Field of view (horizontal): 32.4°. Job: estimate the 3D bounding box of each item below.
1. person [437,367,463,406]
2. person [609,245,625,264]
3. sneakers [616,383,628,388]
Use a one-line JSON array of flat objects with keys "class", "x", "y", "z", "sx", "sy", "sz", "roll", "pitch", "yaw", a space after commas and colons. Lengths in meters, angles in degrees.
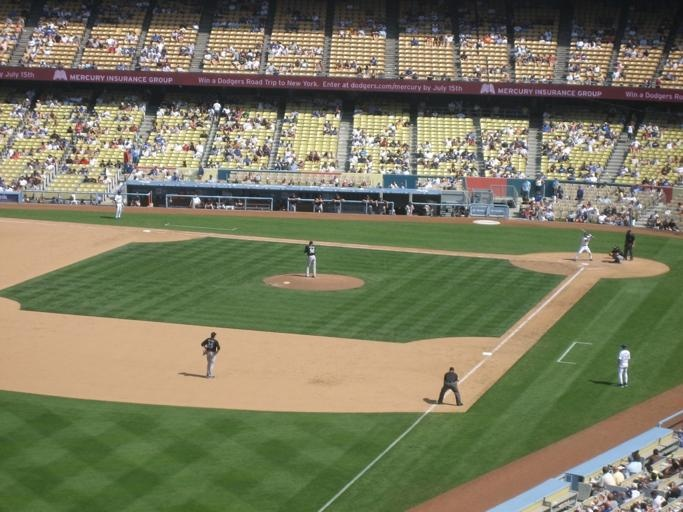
[{"class": "person", "x": 4.813, "y": 5.567, "z": 51.528, "sx": 1.114, "sy": 1.641, "sz": 1.522, "roll": 4, "pitch": 7, "yaw": 4}, {"class": "person", "x": 15.940, "y": -0.158, "z": 67.635, "sx": 0.826, "sy": 0.884, "sz": 1.498, "roll": 5, "pitch": 7, "yaw": 13}, {"class": "sneakers", "x": 12.613, "y": 5.786, "z": 52.898, "sx": 0.540, "sy": 0.201, "sz": 0.184, "roll": 9, "pitch": 18, "yaw": 42}]
